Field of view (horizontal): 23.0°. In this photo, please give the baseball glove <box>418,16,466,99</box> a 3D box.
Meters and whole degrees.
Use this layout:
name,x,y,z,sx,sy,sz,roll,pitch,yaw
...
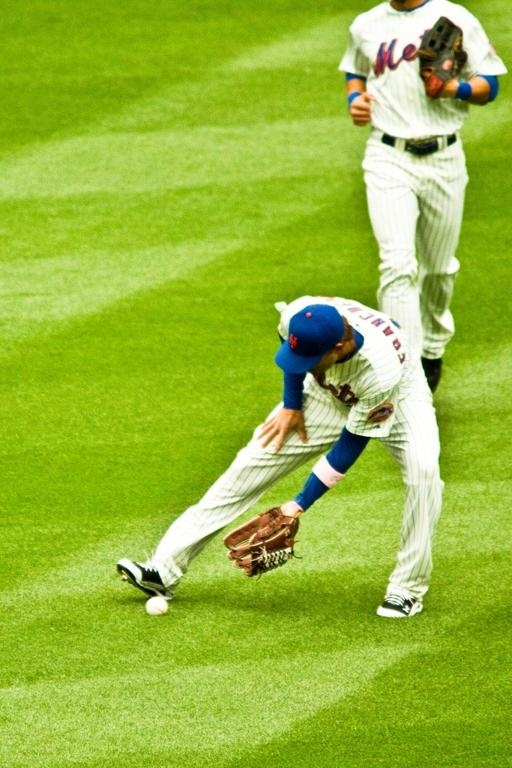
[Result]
name,x,y,z,sx,sy,sz,roll,pitch,yaw
baseball glove,0.656,-1.215,4.672,0.227,0.345,0.096,22,60,32

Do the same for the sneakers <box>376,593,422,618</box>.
name,x,y,z,sx,sy,sz,roll,pitch,yaw
sneakers,0.472,0.733,4.170,0.156,0.068,0.060,7,-1,-38

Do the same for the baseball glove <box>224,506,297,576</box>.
name,x,y,z,sx,sy,sz,roll,pitch,yaw
baseball glove,0.028,0.507,4.098,0.246,0.107,0.174,-34,44,-1

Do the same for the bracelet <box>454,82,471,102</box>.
name,x,y,z,sx,sy,sz,roll,pitch,yaw
bracelet,0.776,-1.096,4.704,0.054,0.072,0.071,-5,27,30

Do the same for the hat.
name,x,y,z,sx,sy,sz,roll,pitch,yaw
hat,0.163,-0.133,3.909,0.222,0.225,0.160,-1,23,9
